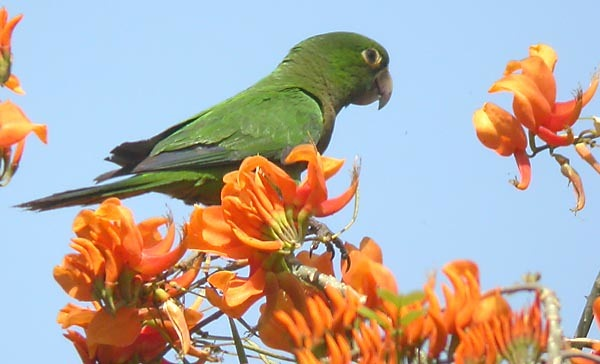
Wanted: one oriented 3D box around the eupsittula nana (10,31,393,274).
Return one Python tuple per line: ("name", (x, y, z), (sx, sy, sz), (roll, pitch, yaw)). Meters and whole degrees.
("eupsittula nana", (-0.503, -0.264, 6.231), (2.068, 1.075, 0.562), (-1, -15, -12))
